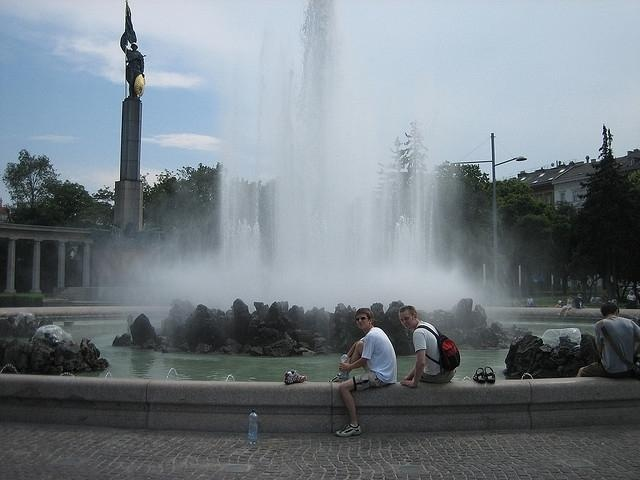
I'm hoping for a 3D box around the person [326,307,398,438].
[{"bbox_3d":[0.668,1.896,8.608,0.851,1.771,0.673,0,-3,3],"label":"person"}]

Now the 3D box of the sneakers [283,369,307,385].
[{"bbox_3d":[-0.382,2.029,8.739,0.280,0.158,0.378,0,-3,1],"label":"sneakers"}]

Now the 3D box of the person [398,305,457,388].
[{"bbox_3d":[1.475,1.560,8.688,0.994,1.169,0.795,-12,-2,40],"label":"person"}]

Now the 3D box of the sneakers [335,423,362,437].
[{"bbox_3d":[0.397,2.691,8.355,0.356,0.165,0.149,2,-6,-8],"label":"sneakers"}]

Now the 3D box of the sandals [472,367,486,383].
[{"bbox_3d":[2.368,2.026,8.791,0.180,0.173,0.345,-1,-3,16],"label":"sandals"}]

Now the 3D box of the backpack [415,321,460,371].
[{"bbox_3d":[1.714,1.582,8.714,0.436,0.678,0.684,-17,6,-40],"label":"backpack"}]
